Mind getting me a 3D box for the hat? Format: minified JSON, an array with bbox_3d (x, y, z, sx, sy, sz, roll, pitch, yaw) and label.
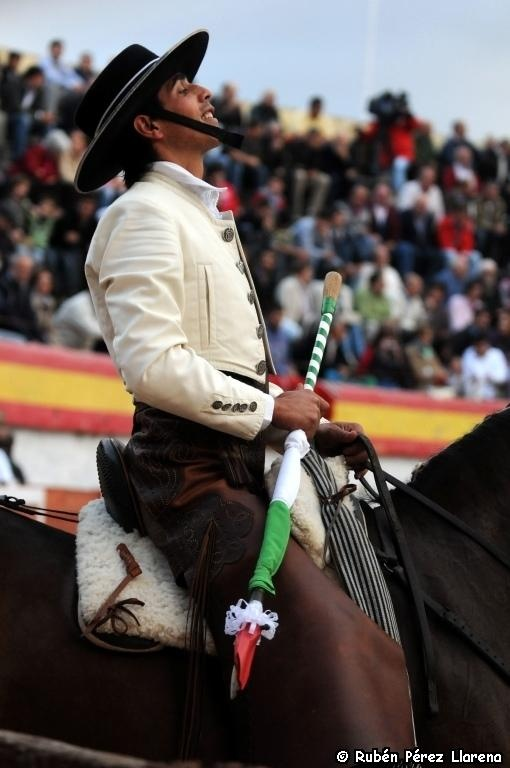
[{"bbox_3d":[-0.232,-0.788,2.475,0.132,0.466,0.467,38,61,7],"label":"hat"}]
